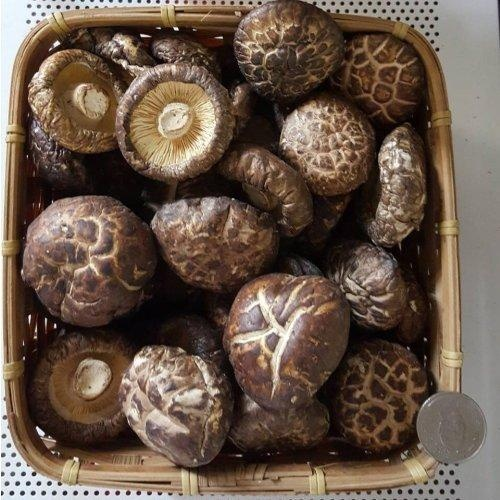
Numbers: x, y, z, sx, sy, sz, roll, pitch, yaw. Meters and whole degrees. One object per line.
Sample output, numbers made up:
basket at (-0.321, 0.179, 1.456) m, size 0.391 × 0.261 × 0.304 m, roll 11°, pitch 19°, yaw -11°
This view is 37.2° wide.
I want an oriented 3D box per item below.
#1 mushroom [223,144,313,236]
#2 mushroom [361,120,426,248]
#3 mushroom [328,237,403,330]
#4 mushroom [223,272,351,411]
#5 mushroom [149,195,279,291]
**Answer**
mushroom at (0.078, -0.235, 2.855) m, size 0.346 × 0.331 × 0.139 m, roll 46°, pitch 72°, yaw -5°
mushroom at (0.568, -0.260, 2.919) m, size 0.137 × 0.338 × 0.445 m, roll 1°, pitch 72°, yaw 2°
mushroom at (0.454, 0.130, 2.936) m, size 0.149 × 0.272 × 0.347 m, roll 3°, pitch 34°, yaw -43°
mushroom at (0.122, 0.290, 2.671) m, size 0.440 × 0.274 × 0.429 m, roll 38°, pitch 58°, yaw 25°
mushroom at (-0.137, -0.014, 2.819) m, size 0.488 × 0.295 × 0.229 m, roll 4°, pitch 49°, yaw -1°
